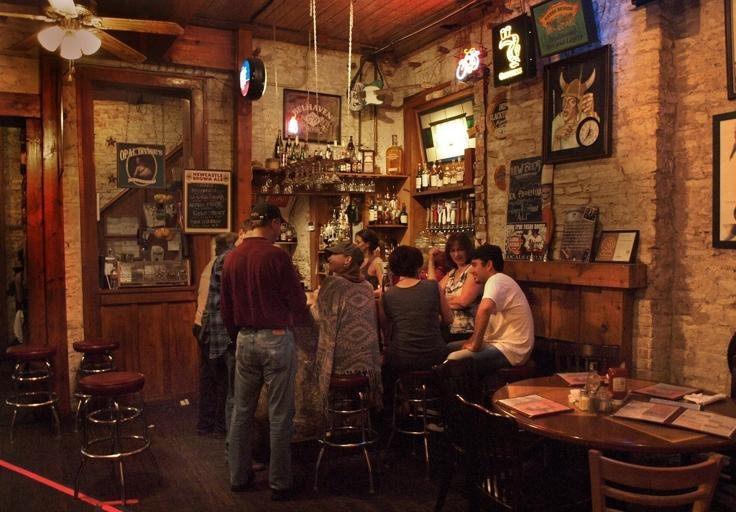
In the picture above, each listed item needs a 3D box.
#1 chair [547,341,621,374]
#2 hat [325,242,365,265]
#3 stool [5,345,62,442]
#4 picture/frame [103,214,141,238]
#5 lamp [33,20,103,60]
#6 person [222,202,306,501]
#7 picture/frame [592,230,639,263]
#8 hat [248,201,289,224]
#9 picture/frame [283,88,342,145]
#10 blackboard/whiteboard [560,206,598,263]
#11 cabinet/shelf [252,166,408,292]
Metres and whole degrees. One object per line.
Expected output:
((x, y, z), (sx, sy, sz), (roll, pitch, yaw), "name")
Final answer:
((2.036, 0.929, 5.730), (0.465, 0.314, 0.456), (0, 2, 10), "chair")
((-0.222, -0.045, 5.712), (0.305, 0.152, 0.209), (13, 0, 0), "hat")
((-3.741, 1.558, 6.783), (0.755, 1.113, 0.725), (3, 21, -23), "stool")
((-3.205, -0.396, 7.843), (0.429, 0.267, 0.094), (1, 7, -14), "picture/frame")
((-2.787, -2.012, 5.629), (0.444, 0.124, 0.435), (-7, 11, -36), "lamp")
((-0.933, 0.803, 5.301), (0.757, 2.471, 0.574), (2, 10, 19), "person")
((2.537, -0.098, 6.159), (0.036, 0.348, 0.343), (18, -11, -28), "picture/frame")
((-0.887, -0.390, 5.453), (0.336, 0.166, 0.230), (-7, 10, -42), "hat")
((-0.846, -2.002, 8.636), (0.935, 0.647, 0.096), (3, -2, -37), "picture/frame")
((2.227, -0.250, 6.489), (0.403, 0.569, 0.359), (7, 13, 42), "blackboard/whiteboard")
((-0.458, -0.383, 7.506), (1.868, 1.612, 0.539), (3, -4, -4), "cabinet/shelf")
